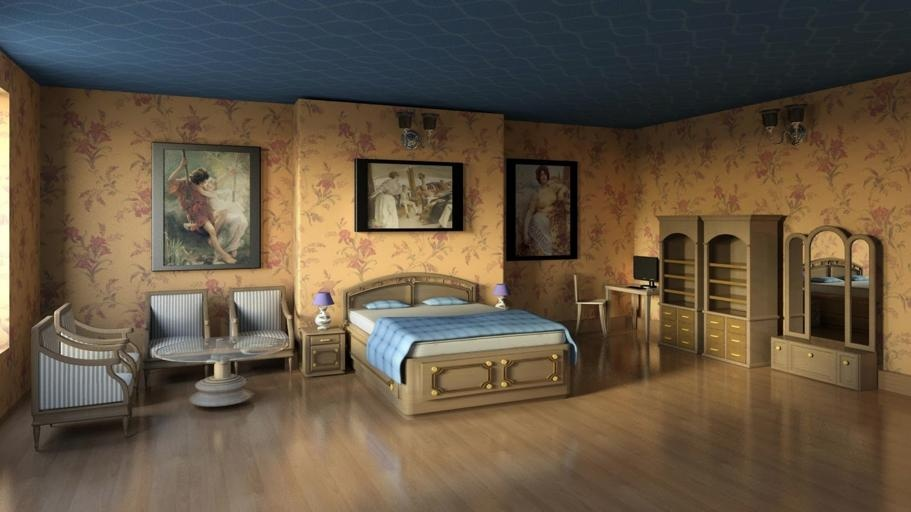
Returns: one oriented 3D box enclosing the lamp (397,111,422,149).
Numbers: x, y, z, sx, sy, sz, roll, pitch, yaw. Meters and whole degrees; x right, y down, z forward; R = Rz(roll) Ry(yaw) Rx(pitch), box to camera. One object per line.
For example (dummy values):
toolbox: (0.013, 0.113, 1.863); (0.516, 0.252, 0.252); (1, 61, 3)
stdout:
lamp: (-0.868, -2.340, 10.435); (0.322, 0.726, 0.451); (1, 5, 26)

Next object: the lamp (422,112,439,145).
lamp: (-0.461, -2.397, 10.450); (0.308, 0.577, 0.463); (-2, 4, -2)

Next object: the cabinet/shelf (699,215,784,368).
cabinet/shelf: (5.206, 0.591, 10.336); (0.928, 2.665, 1.113); (-5, 6, -38)

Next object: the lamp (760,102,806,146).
lamp: (5.814, -2.255, 9.874); (0.685, 0.532, 0.755); (0, 3, -43)

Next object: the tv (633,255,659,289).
tv: (4.021, 0.327, 11.872); (0.258, 0.653, 0.728); (6, -6, -26)

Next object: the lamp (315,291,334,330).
lamp: (-2.327, 0.934, 9.894); (0.303, 0.642, 0.506); (-3, 4, -14)

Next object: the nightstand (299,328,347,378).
nightstand: (-2.231, 1.673, 9.880); (0.912, 0.736, 0.773); (1, -4, -21)

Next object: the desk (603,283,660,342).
desk: (3.852, 1.285, 11.919); (1.134, 1.062, 1.440); (-1, 2, -25)

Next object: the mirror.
mirror: (6.248, 0.497, 9.434); (1.332, 1.990, 0.369); (3, 6, 44)

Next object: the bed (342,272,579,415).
bed: (-0.335, 1.380, 9.336); (2.598, 1.303, 2.807); (0, -1, -25)

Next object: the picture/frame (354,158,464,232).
picture/frame: (-0.961, -1.143, 10.463); (1.674, 0.861, 0.065); (-1, 5, -17)
